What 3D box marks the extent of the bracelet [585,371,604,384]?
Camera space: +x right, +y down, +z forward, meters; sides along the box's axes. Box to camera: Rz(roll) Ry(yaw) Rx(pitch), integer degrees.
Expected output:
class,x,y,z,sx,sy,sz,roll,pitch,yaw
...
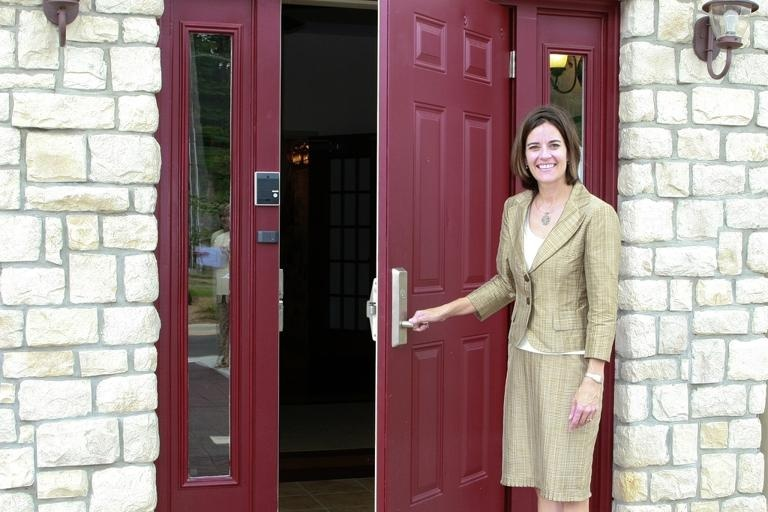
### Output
class,x,y,z,sx,sy,sz,roll,pitch,yaw
bracelet,0.866,0.498,3.090,0.057,0.028,0.048,24,-9,30

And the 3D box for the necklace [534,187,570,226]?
class,x,y,z,sx,sy,sz,roll,pitch,yaw
necklace,0.716,-0.207,3.255,0.132,0.183,0.094,16,-1,42
